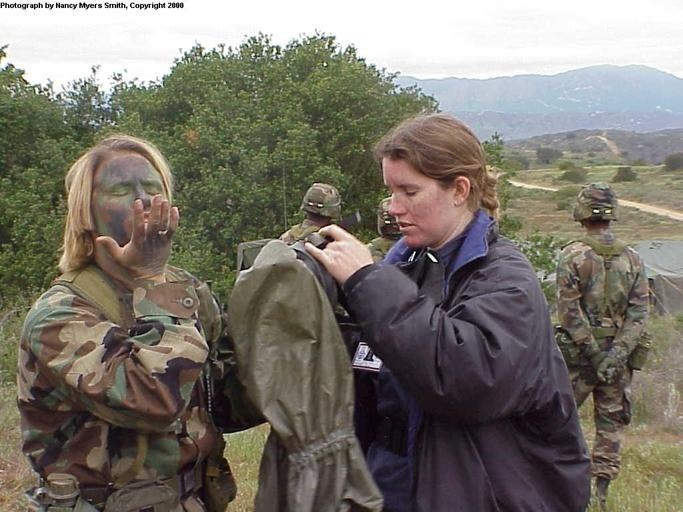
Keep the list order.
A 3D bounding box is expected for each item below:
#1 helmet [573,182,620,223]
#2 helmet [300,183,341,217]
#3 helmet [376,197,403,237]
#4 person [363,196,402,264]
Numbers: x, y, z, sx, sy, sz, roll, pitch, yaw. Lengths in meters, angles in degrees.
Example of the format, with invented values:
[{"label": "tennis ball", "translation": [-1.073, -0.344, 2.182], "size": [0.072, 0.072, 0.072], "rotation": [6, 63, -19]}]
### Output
[{"label": "helmet", "translation": [2.792, -0.549, 7.464], "size": [0.390, 0.356, 0.465], "rotation": [2, -9, 4]}, {"label": "helmet", "translation": [-0.245, -0.736, 9.259], "size": [0.417, 0.461, 0.517], "rotation": [14, 26, 9]}, {"label": "helmet", "translation": [0.552, -0.455, 8.227], "size": [0.424, 0.578, 0.582], "rotation": [-1, -6, 6]}, {"label": "person", "translation": [0.513, -0.280, 8.242], "size": [0.543, 0.771, 0.771], "rotation": [-1, 6, 6]}]
